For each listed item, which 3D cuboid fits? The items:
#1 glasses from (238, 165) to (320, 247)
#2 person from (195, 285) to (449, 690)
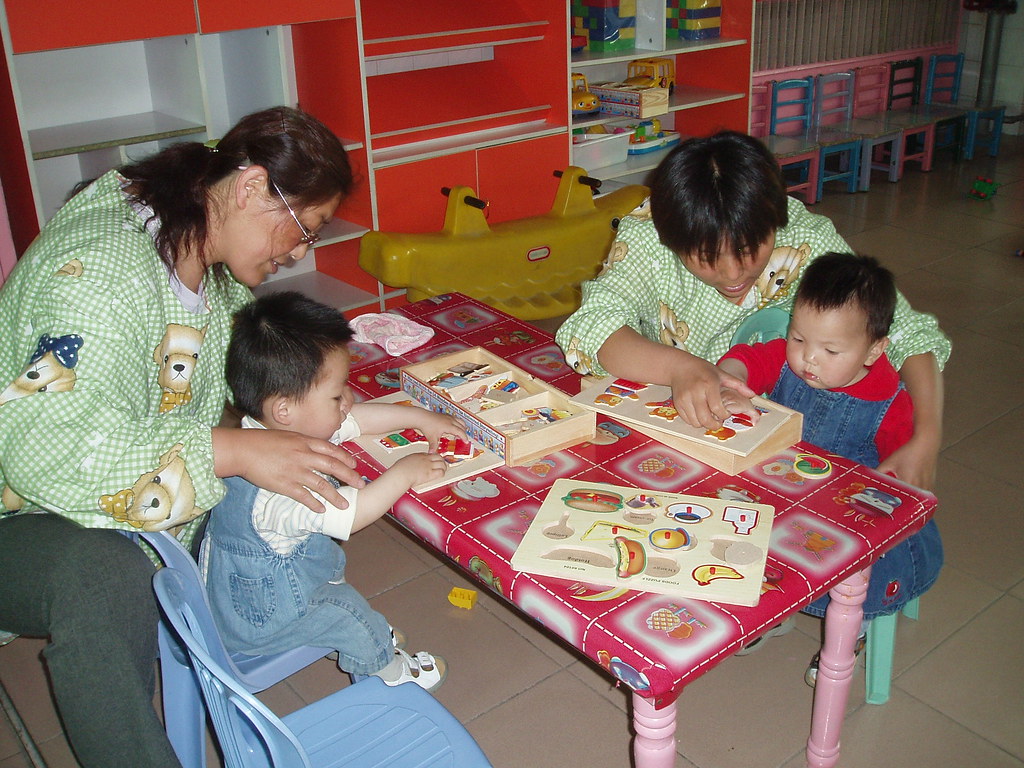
[{"bbox_3d":[-0.447,-0.338,1.505,0.135,0.138,0.041,45,40,5],"label":"glasses"},{"bbox_3d":[-0.360,0.259,1.653,0.596,0.801,0.466,-4,16,-27],"label":"person"}]
